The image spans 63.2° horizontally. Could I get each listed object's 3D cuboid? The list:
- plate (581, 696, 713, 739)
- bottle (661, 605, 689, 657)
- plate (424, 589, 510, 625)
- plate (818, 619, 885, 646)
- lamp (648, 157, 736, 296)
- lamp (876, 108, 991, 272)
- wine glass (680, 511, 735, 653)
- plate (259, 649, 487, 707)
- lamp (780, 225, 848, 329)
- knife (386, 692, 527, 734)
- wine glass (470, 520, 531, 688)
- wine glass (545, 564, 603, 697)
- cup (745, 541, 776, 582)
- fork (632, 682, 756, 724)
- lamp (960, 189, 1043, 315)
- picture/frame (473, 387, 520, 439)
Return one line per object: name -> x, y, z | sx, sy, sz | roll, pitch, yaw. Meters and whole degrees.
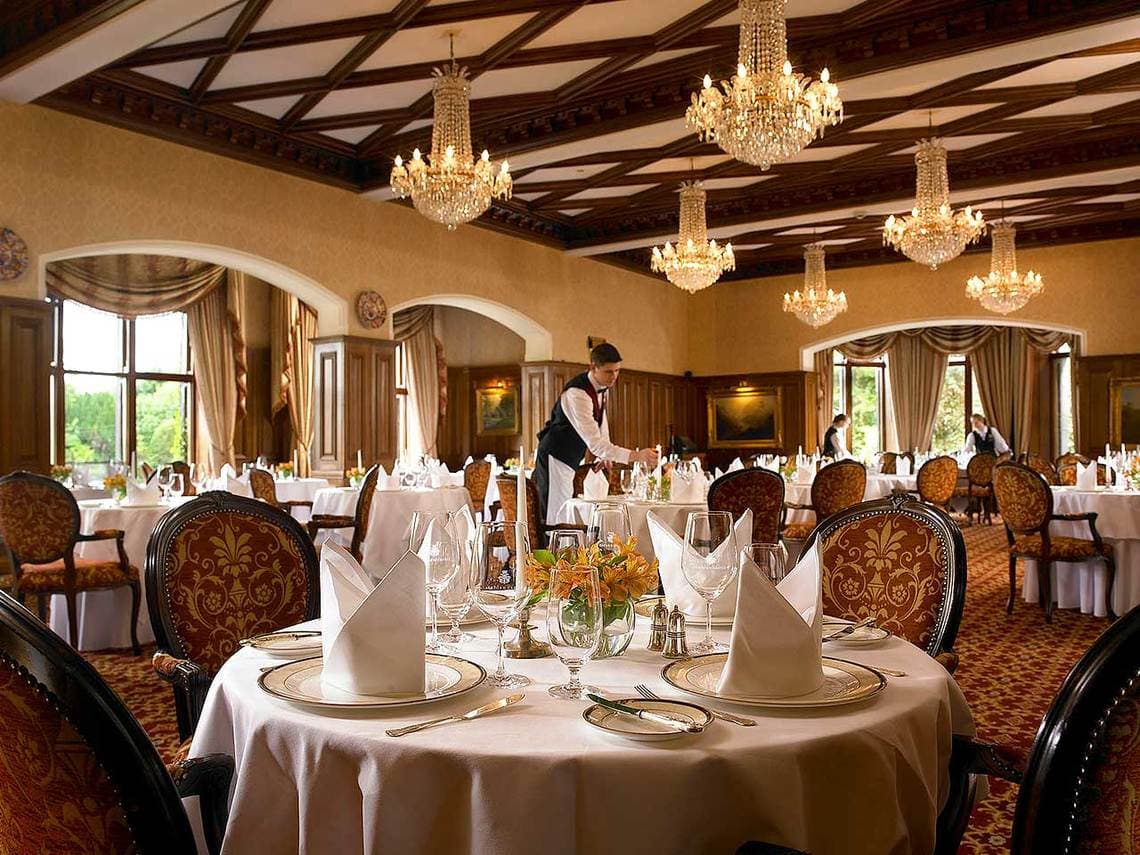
plate -> 0.160, 0.592, 1.924 | 0.262, 0.068, 0.179 | -1, -1, -16
bottle -> 0.271, 0.542, 2.403 | 0.082, 0.112, 0.089 | 0, -7, 0
plate -> -0.262, 0.451, 2.337 | 0.152, 0.045, 0.163 | -5, -6, 17
plate -> 0.771, 0.559, 2.531 | 0.180, 0.040, 0.199 | -1, -1, 10
lamp -> 1.358, -2.195, 10.267 | 0.809, 1.456, 0.813 | -7, 7, -44
lamp -> 3.557, -2.169, 9.167 | 0.802, 1.422, 0.848 | -3, 2, -11
wine glass -> 0.367, 0.397, 2.472 | 0.140, 0.289, 0.233 | -1, 0, 7
plate -> -0.456, 0.577, 2.144 | 0.518, 0.108, 0.354 | -1, -1, -7
lamp -> 3.478, -2.018, 13.325 | 0.721, 1.226, 0.812 | -1, -6, 33
knife -> -0.250, 0.614, 1.975 | 0.035, 0.023, 0.263 | 2, -2, 36
wine glass -> -0.177, 0.419, 2.317 | 0.130, 0.357, 0.366 | -1, -1, -6
wine glass -> 0.011, 0.450, 2.060 | 0.095, 0.278, 0.113 | -2, -7, 24
cup -> 0.498, 0.347, 2.387 | 0.048, 0.074, 0.127 | -1, -1, 37
fork -> 0.273, 0.600, 1.998 | 0.042, 0.025, 0.388 | -1, 1, -23
lamp -> 5.557, -2.081, 11.948 | 0.782, 1.289, 0.868 | -5, 11, 7
picture/frame -> -1.265, -0.285, 16.253 | 0.739, 0.886, 0.056 | 2, 3, 42
